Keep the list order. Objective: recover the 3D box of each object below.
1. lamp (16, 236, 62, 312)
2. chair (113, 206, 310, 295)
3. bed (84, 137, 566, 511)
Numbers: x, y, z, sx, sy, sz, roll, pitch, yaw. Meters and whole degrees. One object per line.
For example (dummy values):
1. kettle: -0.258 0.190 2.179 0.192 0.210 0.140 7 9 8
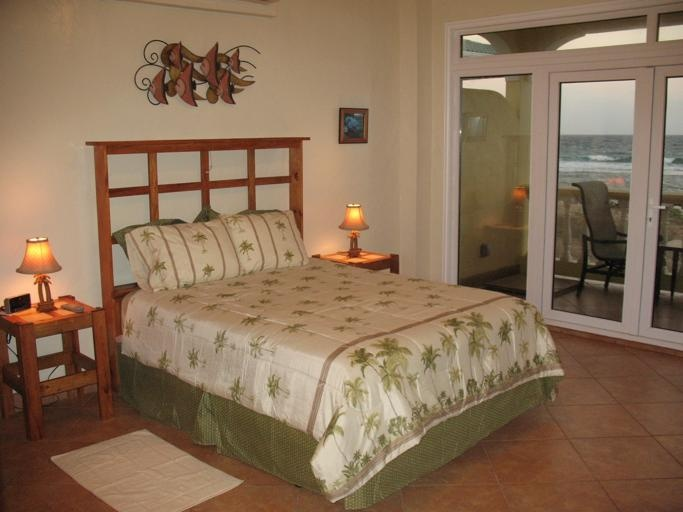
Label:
1. lamp: -2.070 0.121 3.542 0.250 0.488 0.363 -9 13 -29
2. chair: -0.985 0.005 3.991 1.638 0.559 0.387 -14 4 -36
3. bed: -0.255 0.402 3.811 2.908 1.864 2.421 9 15 42
